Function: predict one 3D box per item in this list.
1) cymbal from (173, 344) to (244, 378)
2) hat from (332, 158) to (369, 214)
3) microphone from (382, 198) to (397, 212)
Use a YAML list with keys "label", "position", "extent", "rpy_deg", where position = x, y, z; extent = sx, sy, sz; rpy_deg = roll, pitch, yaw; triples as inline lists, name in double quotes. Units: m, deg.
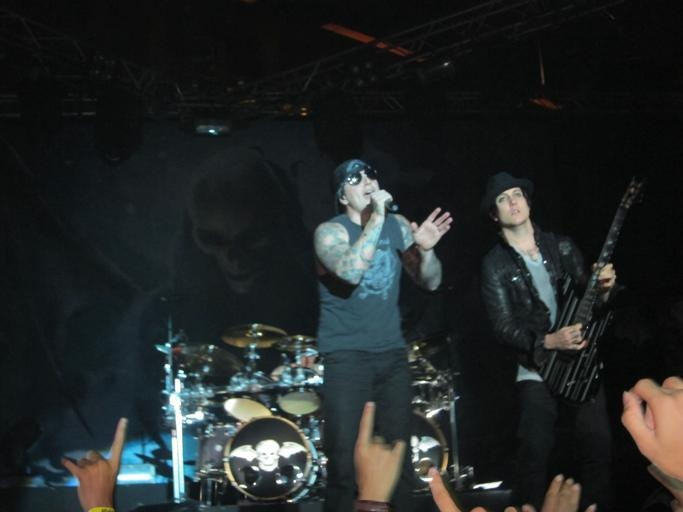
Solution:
- label: "cymbal"
  position: [-0.743, 0.574, 3.564]
  extent: [0.244, 0.056, 0.224]
  rpy_deg: [17, -44, 3]
- label: "hat"
  position: [0.055, -0.392, 3.716]
  extent: [0.234, 0.227, 0.177]
  rpy_deg: [-34, -2, 35]
- label: "microphone"
  position: [0.275, -0.283, 3.593]
  extent: [0.079, 0.070, 0.104]
  rpy_deg: [11, 0, -5]
